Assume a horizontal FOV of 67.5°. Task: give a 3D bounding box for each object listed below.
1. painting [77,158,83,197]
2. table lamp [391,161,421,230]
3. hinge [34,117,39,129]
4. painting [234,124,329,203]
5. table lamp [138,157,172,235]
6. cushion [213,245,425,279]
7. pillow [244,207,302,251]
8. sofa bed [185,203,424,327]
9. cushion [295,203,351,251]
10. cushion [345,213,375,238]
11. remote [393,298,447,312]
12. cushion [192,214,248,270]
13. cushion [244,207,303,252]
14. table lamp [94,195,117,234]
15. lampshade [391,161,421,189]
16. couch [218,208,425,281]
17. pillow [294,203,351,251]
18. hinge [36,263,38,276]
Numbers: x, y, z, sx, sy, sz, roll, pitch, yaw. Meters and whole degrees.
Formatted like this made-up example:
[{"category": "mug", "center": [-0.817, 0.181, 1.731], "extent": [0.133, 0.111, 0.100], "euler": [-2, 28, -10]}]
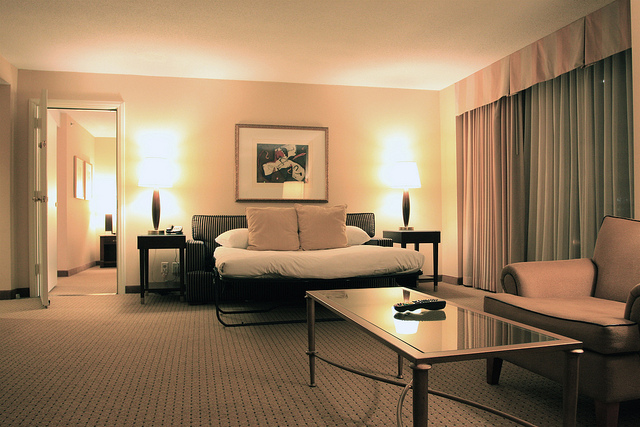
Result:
[{"category": "painting", "center": [-4.209, -0.616, 8.349], "extent": [0.089, 0.607, 0.441], "euler": [-2, 2, -25]}, {"category": "table lamp", "center": [1.179, -0.217, 6.597], "extent": [0.458, 0.923, 0.465], "euler": [-2, -4, 18]}, {"category": "hinge", "center": [-3.517, -1.113, 5.908], "extent": [0.051, 0.140, 0.065], "euler": [-3, 3, -29]}, {"category": "painting", "center": [-0.522, -0.672, 6.474], "extent": [1.259, 1.038, 0.063], "euler": [-1, 3, -9]}, {"category": "table lamp", "center": [-2.091, -0.226, 6.071], "extent": [0.467, 1.026, 0.461], "euler": [0, 0, -39]}, {"category": "cushion", "center": [-0.005, 0.498, 4.726], "extent": [1.639, 0.329, 1.030], "euler": [6, -1, -18]}, {"category": "pillow", "center": [-0.536, 0.179, 5.512], "extent": [0.759, 0.557, 0.466], "euler": [0, -1, -14]}, {"category": "sofa bed", "center": [-0.389, 0.403, 5.399], "extent": [2.293, 1.031, 1.481], "euler": [0, -5, -11]}, {"category": "cushion", "center": [0.016, 0.180, 5.614], "extent": [0.567, 0.462, 0.197], "euler": [-2, -32, -7]}, {"category": "cushion", "center": [0.545, 0.109, 6.469], "extent": [0.538, 0.337, 0.286], "euler": [0, 1, -1]}, {"category": "remote", "center": [0.691, 0.624, 3.249], "extent": [0.422, 0.093, 0.116], "euler": [0, -15, -3]}, {"category": "cushion", "center": [-1.329, 0.358, 6.268], "extent": [0.661, 0.682, 0.554], "euler": [0, 3, -13]}, {"category": "cushion", "center": [-0.538, 0.173, 5.537], "extent": [0.665, 0.482, 0.447], "euler": [3, 3, -19]}, {"category": "table lamp", "center": [-4.300, -0.014, 9.510], "extent": [0.343, 0.713, 0.240], "euler": [-2, 3, -15]}, {"category": "lampshade", "center": [1.163, -0.515, 6.442], "extent": [0.371, 0.347, 0.364], "euler": [-4, 5, -39]}, {"category": "couch", "center": [-0.079, 0.286, 5.294], "extent": [2.027, 0.695, 1.253], "euler": [-1, 1, -11]}, {"category": "pillow", "center": [0.013, 0.178, 5.617], "extent": [0.565, 0.465, 0.194], "euler": [-1, -30, -7]}, {"category": "hinge", "center": [-3.574, 0.709, 6.011], "extent": [0.019, 0.136, 0.010], "euler": [-3, 3, -28]}]
